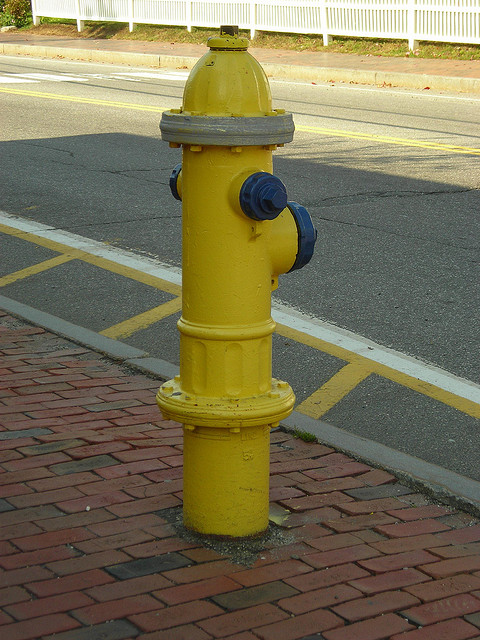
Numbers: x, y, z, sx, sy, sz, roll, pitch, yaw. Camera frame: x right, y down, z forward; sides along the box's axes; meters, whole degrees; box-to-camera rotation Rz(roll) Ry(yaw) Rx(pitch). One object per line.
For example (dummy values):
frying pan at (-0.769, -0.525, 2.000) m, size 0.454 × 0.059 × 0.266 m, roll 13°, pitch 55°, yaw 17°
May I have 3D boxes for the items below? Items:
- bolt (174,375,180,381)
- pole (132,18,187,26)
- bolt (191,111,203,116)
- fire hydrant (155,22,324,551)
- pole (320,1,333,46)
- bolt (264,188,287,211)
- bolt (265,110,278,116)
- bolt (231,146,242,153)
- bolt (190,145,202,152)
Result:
bolt at (-0.215, 0.198, 2.607) m, size 0.020 × 0.013 × 0.017 m, roll 1°, pitch 4°, yaw -7°
pole at (-2.728, -10.240, 26.299) m, size 1.673 × 0.200 × 0.106 m, roll 8°, pitch 42°, yaw 26°
bolt at (-0.128, -0.605, 2.246) m, size 0.034 × 0.013 × 0.038 m, roll 0°, pitch 12°, yaw -6°
fire hydrant at (-0.012, -0.071, 2.450) m, size 0.509 × 1.642 × 0.374 m, roll 0°, pitch 16°, yaw -4°
pole at (2.445, -8.542, 22.117) m, size 0.245 × 1.183 × 0.399 m, roll 10°, pitch 18°, yaw 27°
bolt at (0.097, -0.352, 2.224) m, size 0.039 × 0.048 × 0.070 m, roll 16°, pitch 18°, yaw 34°
bolt at (0.094, -0.619, 2.299) m, size 0.037 × 0.011 × 0.032 m, roll -1°, pitch 7°, yaw -18°
bolt at (-0.012, -0.499, 2.246) m, size 0.021 × 0.012 × 0.021 m, roll 2°, pitch 2°, yaw 36°
bolt at (-0.131, -0.507, 2.268) m, size 0.026 × 0.014 × 0.023 m, roll 0°, pitch 6°, yaw -8°
